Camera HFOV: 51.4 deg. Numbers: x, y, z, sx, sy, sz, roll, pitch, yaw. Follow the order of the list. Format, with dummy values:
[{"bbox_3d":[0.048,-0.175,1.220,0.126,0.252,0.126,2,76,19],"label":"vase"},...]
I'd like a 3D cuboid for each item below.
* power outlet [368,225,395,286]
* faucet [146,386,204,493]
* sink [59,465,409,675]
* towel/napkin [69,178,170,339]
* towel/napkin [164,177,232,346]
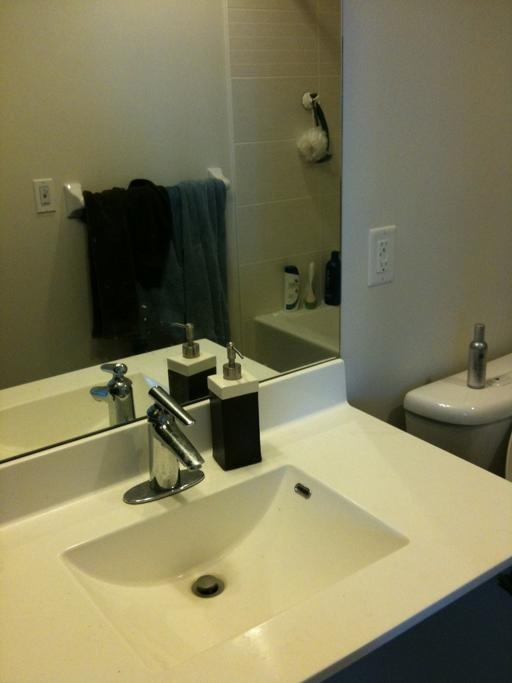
[{"bbox_3d":[0.274,-0.199,1.191,0.077,0.166,0.023,-14,22,-34],"label":"power outlet"},{"bbox_3d":[-0.136,0.164,0.861,0.084,0.141,0.111,-15,29,-31],"label":"faucet"},{"bbox_3d":[-0.029,0.338,0.769,0.449,0.103,0.272,-11,18,-31],"label":"sink"},{"bbox_3d":[-0.203,-0.146,0.867,0.121,0.239,0.053,-12,31,-26],"label":"towel/napkin"},{"bbox_3d":[-0.096,-0.139,0.944,0.083,0.298,0.031,-2,-8,-9],"label":"towel/napkin"}]
